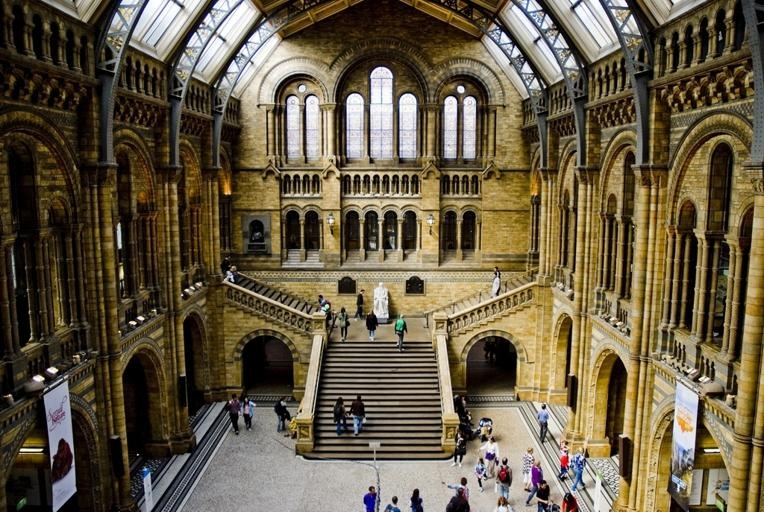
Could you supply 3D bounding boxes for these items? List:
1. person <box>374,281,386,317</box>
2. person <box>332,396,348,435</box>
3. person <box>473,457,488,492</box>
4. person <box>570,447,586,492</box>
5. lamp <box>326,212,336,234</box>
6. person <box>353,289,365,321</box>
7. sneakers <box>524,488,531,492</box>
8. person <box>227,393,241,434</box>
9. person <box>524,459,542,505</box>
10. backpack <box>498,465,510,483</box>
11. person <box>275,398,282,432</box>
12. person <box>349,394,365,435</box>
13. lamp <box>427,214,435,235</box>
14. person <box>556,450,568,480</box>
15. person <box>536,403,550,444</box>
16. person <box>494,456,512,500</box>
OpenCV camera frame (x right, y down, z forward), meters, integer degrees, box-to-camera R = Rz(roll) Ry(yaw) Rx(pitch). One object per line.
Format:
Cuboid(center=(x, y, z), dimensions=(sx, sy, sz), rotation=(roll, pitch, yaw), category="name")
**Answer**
Cuboid(center=(-0.103, 2.543, 34.272), dimensions=(0.762, 1.738, 1.411), rotation=(-1, 14, -3), category="person")
Cuboid(center=(-1.806, 7.061, 26.527), dimensions=(0.715, 1.632, 0.380), rotation=(-10, 17, -35), category="person")
Cuboid(center=(3.957, 8.530, 23.762), dimensions=(0.420, 1.287, 0.891), rotation=(3, 14, 11), category="person")
Cuboid(center=(7.956, 8.297, 24.083), dimensions=(0.546, 1.523, 2.096), rotation=(5, 15, 20), category="person")
Cuboid(center=(-2.914, -1.830, 34.594), dimensions=(0.342, 1.242, 0.469), rotation=(12, 18, 41), category="lamp")
Cuboid(center=(-1.282, 2.822, 34.492), dimensions=(0.567, 1.534, 1.130), rotation=(0, 14, -1), category="person")
Cuboid(center=(5.691, 9.144, 23.364), dimensions=(0.128, 0.148, 0.360), rotation=(0, -10, 4), category="sneakers")
Cuboid(center=(-6.868, 7.314, 27.545), dimensions=(0.469, 1.585, 0.988), rotation=(-4, 14, -17), category="person")
Cuboid(center=(5.727, 8.621, 22.656), dimensions=(0.860, 2.135, 0.627), rotation=(2, 41, 6), category="person")
Cuboid(center=(4.653, 8.282, 22.565), dimensions=(0.446, 0.720, 0.348), rotation=(2, 14, 8), category="backpack")
Cuboid(center=(-4.792, 7.391, 27.617), dimensions=(0.262, 1.389, 0.521), rotation=(-3, 14, -12), category="person")
Cuboid(center=(-1.081, 7.008, 26.571), dimensions=(0.626, 1.770, 0.773), rotation=(-1, 14, -2), category="person")
Cuboid(center=(2.843, -1.824, 34.628), dimensions=(0.316, 1.161, 0.428), rotation=(12, 18, 41), category="lamp")
Cuboid(center=(7.337, 8.542, 24.267), dimensions=(0.469, 1.479, 0.492), rotation=(-10, 31, -6), category="person")
Cuboid(center=(7.357, 7.401, 27.108), dimensions=(0.401, 1.668, 1.314), rotation=(4, 14, 17), category="person")
Cuboid(center=(4.621, 8.542, 22.675), dimensions=(0.552, 1.638, 0.470), rotation=(1, 7, 22), category="person")
